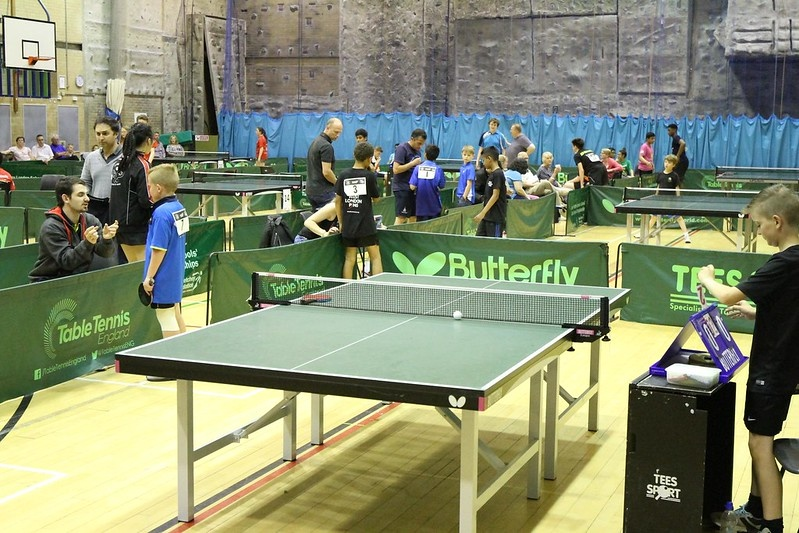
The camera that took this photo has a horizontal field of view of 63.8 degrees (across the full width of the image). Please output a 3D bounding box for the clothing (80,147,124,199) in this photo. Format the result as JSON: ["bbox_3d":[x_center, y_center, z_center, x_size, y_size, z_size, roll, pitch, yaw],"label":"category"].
[{"bbox_3d":[-3.218,-0.995,7.124,0.671,0.567,0.239,4,17,3],"label":"clothing"}]

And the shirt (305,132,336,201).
[{"bbox_3d":[-1.226,-1.490,9.738,0.441,1.030,0.413,1,12,2],"label":"shirt"}]

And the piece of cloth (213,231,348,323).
[{"bbox_3d":[-1.539,0.085,8.173,1.898,0.696,0.100,-7,10,-40],"label":"piece of cloth"}]

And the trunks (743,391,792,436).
[{"bbox_3d":[2.006,0.798,3.514,0.206,0.339,0.359,1,7,29],"label":"trunks"}]

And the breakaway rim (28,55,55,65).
[{"bbox_3d":[-12.336,-7.016,22.015,0.096,0.325,0.863,6,13,24],"label":"breakaway rim"}]

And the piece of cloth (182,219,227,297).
[{"bbox_3d":[-3.027,-0.109,9.575,1.358,1.047,0.103,-3,0,37],"label":"piece of cloth"}]

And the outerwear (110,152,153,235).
[{"bbox_3d":[-2.853,-0.751,6.930,0.628,0.840,0.470,7,7,28],"label":"outerwear"}]

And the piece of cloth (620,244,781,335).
[{"bbox_3d":[3.806,0.297,8.384,1.764,1.039,0.035,6,-3,-11],"label":"piece of cloth"}]

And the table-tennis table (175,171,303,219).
[{"bbox_3d":[-3.197,-1.264,13.041,2.102,0.990,4.441,-2,13,-13],"label":"table-tennis table"}]

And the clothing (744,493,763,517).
[{"bbox_3d":[2.020,1.357,3.690,0.045,0.092,0.132,-1,9,-13],"label":"clothing"}]

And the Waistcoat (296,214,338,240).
[{"bbox_3d":[-1.207,-0.565,9.322,0.474,0.359,0.308,-16,25,-29],"label":"Waistcoat"}]

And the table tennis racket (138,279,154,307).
[{"bbox_3d":[-2.392,0.262,6.151,0.201,0.201,0.048,29,19,14],"label":"table tennis racket"}]
